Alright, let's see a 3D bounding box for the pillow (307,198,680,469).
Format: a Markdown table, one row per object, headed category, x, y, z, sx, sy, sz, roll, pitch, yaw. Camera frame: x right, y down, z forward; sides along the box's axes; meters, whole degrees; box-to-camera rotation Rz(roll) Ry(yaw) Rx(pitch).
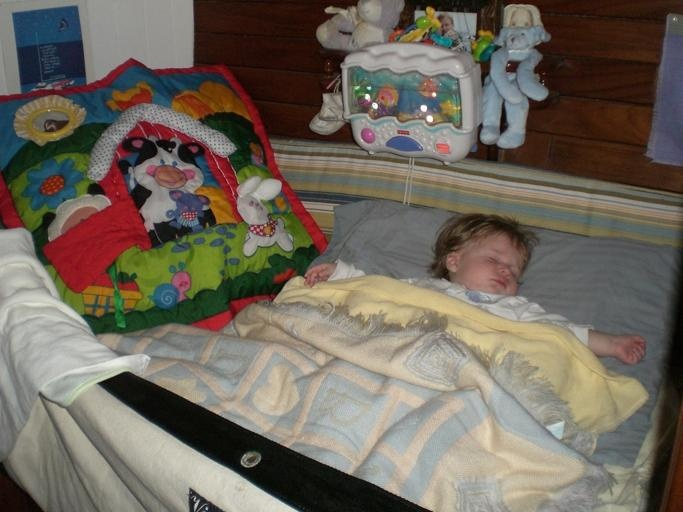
| category | x | y | z | sx | sy | sz | roll | pitch | yaw |
| --- | --- | --- | --- | --- | --- | --- | --- | --- | --- |
| pillow | 0.458 | 0.110 | 1.694 | 1.070 | 0.381 | 0.538 | 18 | 29 | 38 |
